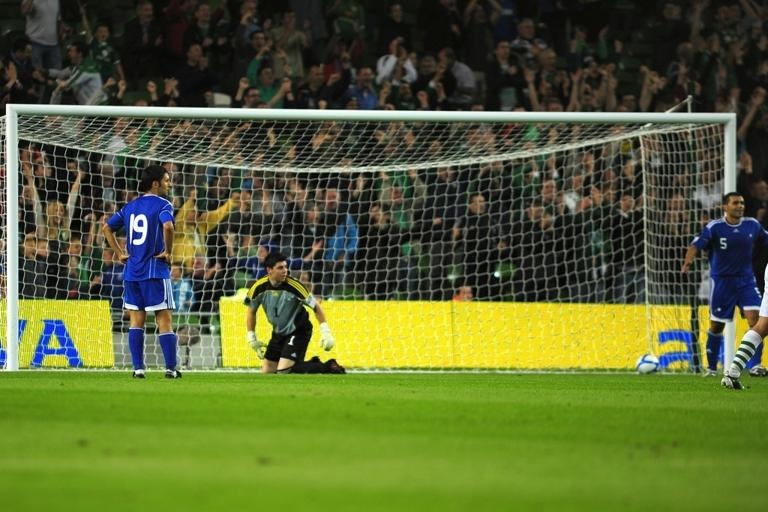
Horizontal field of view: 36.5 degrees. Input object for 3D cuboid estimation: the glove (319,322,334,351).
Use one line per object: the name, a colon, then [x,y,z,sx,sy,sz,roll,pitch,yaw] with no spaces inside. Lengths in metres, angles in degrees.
glove: [-0.727,1.005,14.505,0.165,0.177,0.487,4,22,2]

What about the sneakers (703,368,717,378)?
sneakers: [4.113,1.476,14.660,0.159,0.060,0.090,2,-2,-16]

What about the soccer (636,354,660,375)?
soccer: [3.332,1.366,14.700,0.260,0.245,0.346,-1,-3,15]

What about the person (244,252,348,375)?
person: [-1.215,0.794,15.393,1.306,1.698,1.048,7,18,35]

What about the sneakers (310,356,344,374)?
sneakers: [-0.718,1.396,14.675,0.297,0.111,0.231,11,-4,-3]

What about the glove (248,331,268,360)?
glove: [-1.579,1.138,14.497,0.253,0.400,0.118,-13,3,0]

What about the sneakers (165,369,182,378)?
sneakers: [-2.454,1.374,13.575,0.092,0.074,0.185,1,0,23]

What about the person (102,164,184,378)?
person: [-2.784,0.164,13.716,0.879,2.498,0.559,-3,-4,44]

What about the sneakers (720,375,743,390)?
sneakers: [3.977,1.434,13.271,0.238,0.145,0.188,-1,-3,15]
